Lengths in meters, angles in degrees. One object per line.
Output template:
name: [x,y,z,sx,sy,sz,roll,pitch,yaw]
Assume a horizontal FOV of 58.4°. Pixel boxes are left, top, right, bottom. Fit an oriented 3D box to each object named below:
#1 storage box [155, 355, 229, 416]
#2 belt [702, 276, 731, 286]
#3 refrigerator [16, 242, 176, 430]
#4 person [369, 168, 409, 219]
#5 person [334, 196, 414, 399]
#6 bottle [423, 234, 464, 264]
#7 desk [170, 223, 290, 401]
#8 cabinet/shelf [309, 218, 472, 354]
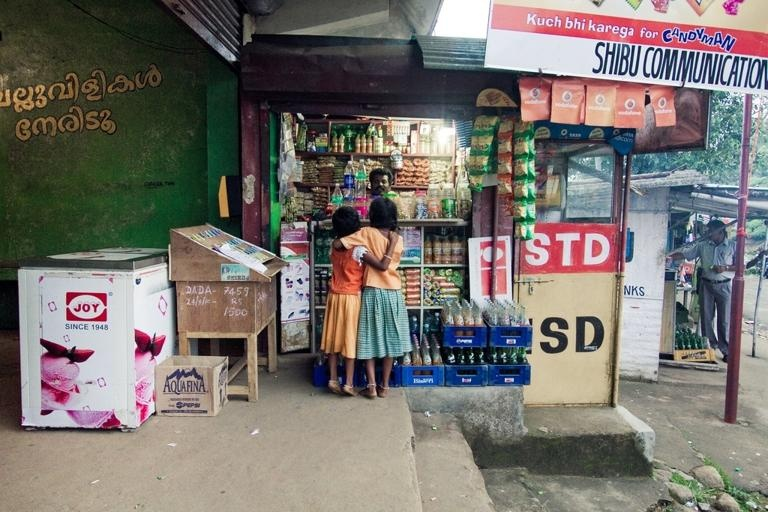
storage box: [-2.171,1.491,7.779,0.669,0.495,0.676,1,-5,-3]
belt: [6.205,0.496,12.982,0.504,0.175,0.211,1,4,29]
refrigerator: [-3.150,0.955,7.585,1.537,1.884,0.554,-3,3,-27]
person: [-0.037,-0.920,10.410,0.627,0.856,0.614,-2,3,-44]
person: [-0.088,0.500,8.298,0.754,2.396,0.288,-1,3,-4]
bottle: [0.843,-0.089,9.771,0.598,0.407,0.182,-1,3,9]
desk: [-2.225,0.587,9.389,1.753,2.981,2.178,0,5,-2]
cabinet/shelf: [0.112,0.359,9.524,2.057,1.812,0.682,-1,16,-40]
